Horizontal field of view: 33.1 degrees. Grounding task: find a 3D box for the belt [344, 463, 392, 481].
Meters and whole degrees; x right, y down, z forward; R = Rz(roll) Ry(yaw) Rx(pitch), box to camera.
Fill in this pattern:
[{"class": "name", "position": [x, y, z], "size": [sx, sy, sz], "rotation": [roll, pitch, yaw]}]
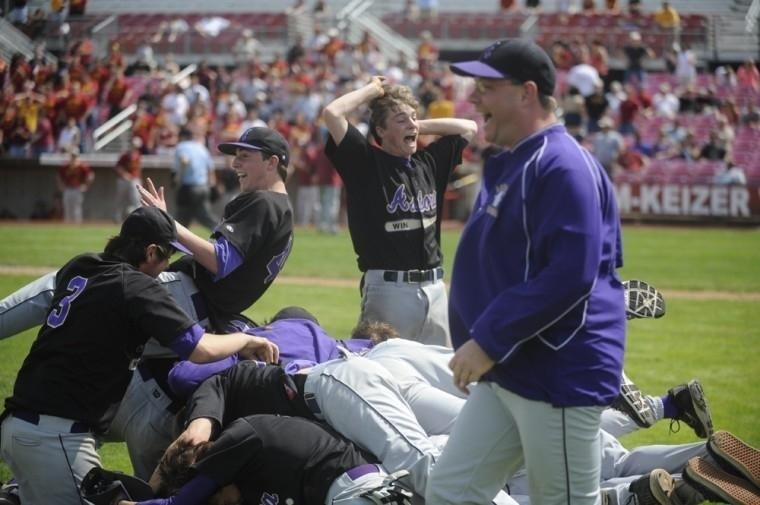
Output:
[{"class": "belt", "position": [-0.150, 2.363, 13.767], "size": [0.318, 0.091, 0.196], "rotation": [-11, 38, -22]}]
